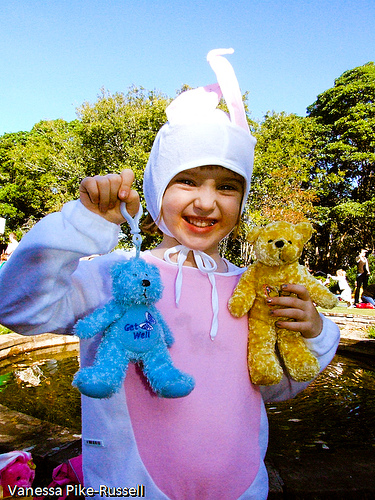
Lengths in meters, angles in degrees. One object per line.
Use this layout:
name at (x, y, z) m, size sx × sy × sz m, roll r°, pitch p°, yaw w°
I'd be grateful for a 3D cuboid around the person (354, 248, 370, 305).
person at (5.017, 0.755, 11.666) m, size 0.377 × 1.545 × 1.311 m, roll 0°, pitch -1°, yaw 23°

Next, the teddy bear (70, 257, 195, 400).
teddy bear at (-0.172, 0.207, 1.180) m, size 0.312 × 0.374 × 0.338 m, roll 1°, pitch -1°, yaw -15°
